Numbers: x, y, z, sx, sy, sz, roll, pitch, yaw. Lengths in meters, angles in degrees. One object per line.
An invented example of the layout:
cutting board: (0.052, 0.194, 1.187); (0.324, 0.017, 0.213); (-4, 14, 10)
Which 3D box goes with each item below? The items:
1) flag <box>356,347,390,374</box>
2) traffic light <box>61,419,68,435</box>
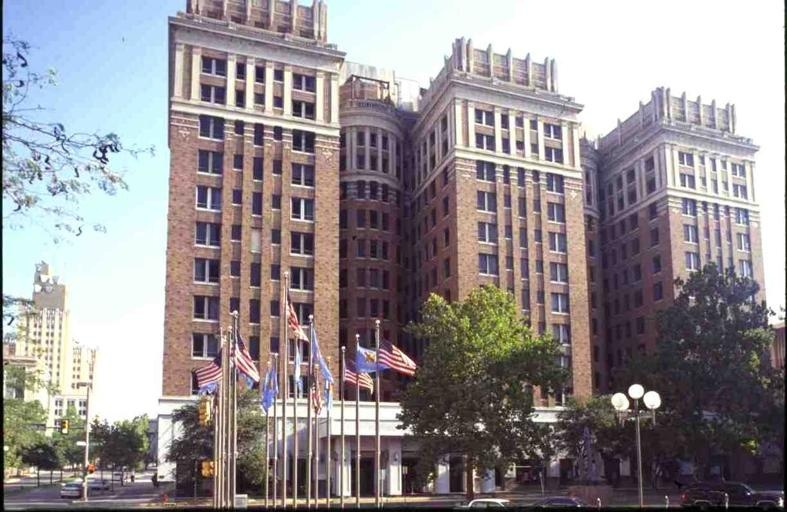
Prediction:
flag: (-2.089, 10.242, 105.657); (3.577, 3.657, 0.537); (5, -17, -16)
traffic light: (-35.124, 18.192, 114.554); (0.559, 1.519, 0.861); (4, -19, -15)
